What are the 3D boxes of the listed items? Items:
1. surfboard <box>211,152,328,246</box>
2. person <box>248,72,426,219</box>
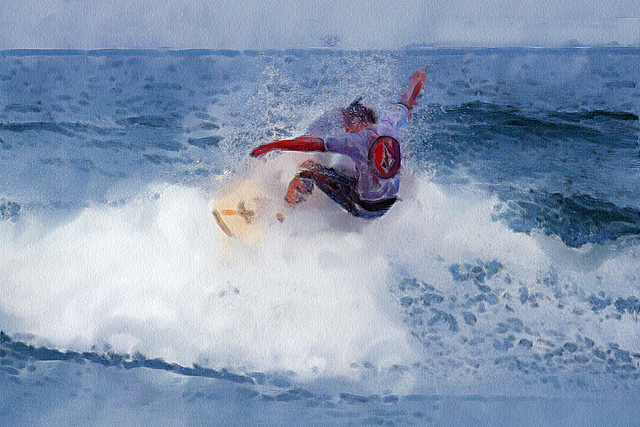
[{"bbox_3d":[-0.398,-0.141,6.727,0.933,0.601,0.232,-28,-2,-3],"label":"surfboard"},{"bbox_3d":[0.234,-0.450,6.746,1.470,1.006,0.789,-14,32,-28],"label":"person"}]
